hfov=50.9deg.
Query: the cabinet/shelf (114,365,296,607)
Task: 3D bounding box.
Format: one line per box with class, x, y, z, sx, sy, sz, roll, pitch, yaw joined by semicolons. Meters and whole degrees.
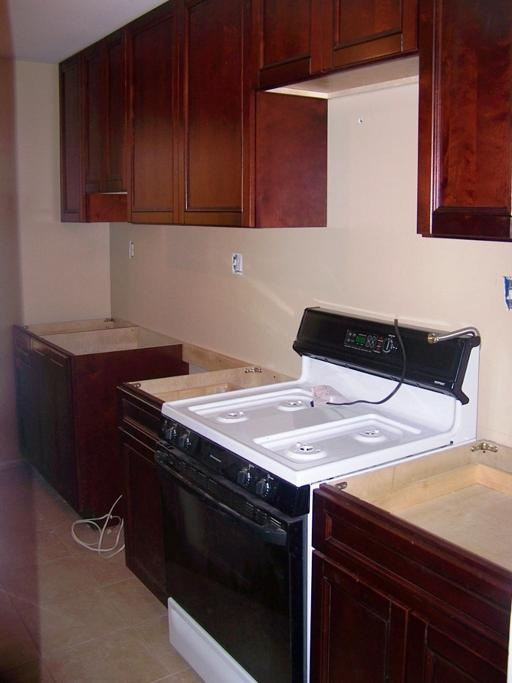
cabinet/shelf;-0.327;0.466;2.602;0.745;1.474;0.614;-4;8;-29
